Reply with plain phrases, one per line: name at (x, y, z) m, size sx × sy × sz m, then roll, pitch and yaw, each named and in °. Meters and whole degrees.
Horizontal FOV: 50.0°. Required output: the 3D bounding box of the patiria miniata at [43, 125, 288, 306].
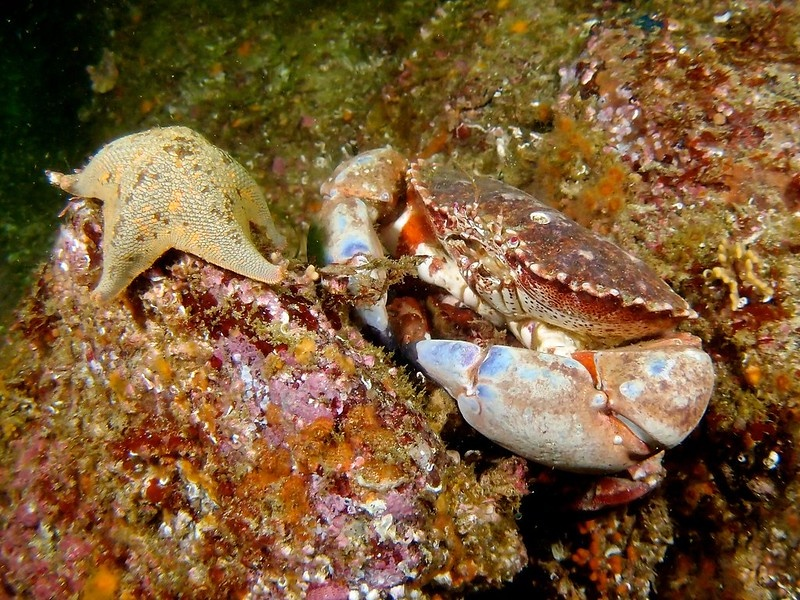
patiria miniata at (-1.136, -0.545, 4.678) m, size 1.478 × 0.520 × 1.531 m, roll -18°, pitch 34°, yaw -38°

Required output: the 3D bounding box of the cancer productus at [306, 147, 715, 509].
cancer productus at (0.712, 0.010, 5.426) m, size 1.937 × 1.468 × 2.945 m, roll -24°, pitch 45°, yaw -30°
